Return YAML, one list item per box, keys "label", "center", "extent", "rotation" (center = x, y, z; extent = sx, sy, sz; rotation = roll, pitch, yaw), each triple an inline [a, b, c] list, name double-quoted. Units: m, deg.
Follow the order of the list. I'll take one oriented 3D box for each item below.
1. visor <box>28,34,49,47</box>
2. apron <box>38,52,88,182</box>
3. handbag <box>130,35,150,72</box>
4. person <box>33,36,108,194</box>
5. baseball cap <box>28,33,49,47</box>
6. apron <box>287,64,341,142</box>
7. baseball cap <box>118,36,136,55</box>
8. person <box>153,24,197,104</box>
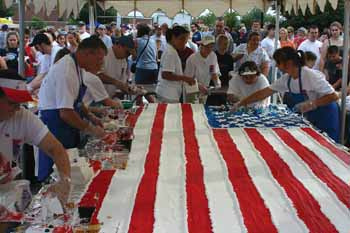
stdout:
- label: "visor"
  center: [-2.533, -1.485, 5.383]
  extent: [0.361, 0.190, 0.229]
  rotation: [-12, 23, -10]
- label: "apron"
  center: [-1.279, -0.012, 3.278]
  extent: [0.656, 1.528, 0.589]
  rotation: [-3, 21, -8]
- label: "handbag"
  center: [-0.880, -1.611, 7.583]
  extent: [0.232, 0.907, 0.682]
  rotation: [18, 17, -16]
- label: "person"
  center: [-1.223, 0.089, 3.299]
  extent: [0.790, 1.918, 0.731]
  rotation: [-7, 26, -39]
- label: "baseball cap"
  center: [-2.581, -1.492, 5.397]
  extent: [0.364, 0.187, 0.233]
  rotation: [-9, 21, -8]
- label: "apron"
  center: [2.203, -0.155, 4.481]
  extent: [0.919, 1.118, 0.712]
  rotation: [8, 25, 9]
- label: "baseball cap"
  center: [-0.734, -1.122, 4.468]
  extent: [0.300, 0.156, 0.219]
  rotation: [20, 12, -5]
- label: "person"
  center: [-0.013, -0.948, 5.148]
  extent: [0.703, 1.452, 0.986]
  rotation: [2, 10, -3]
